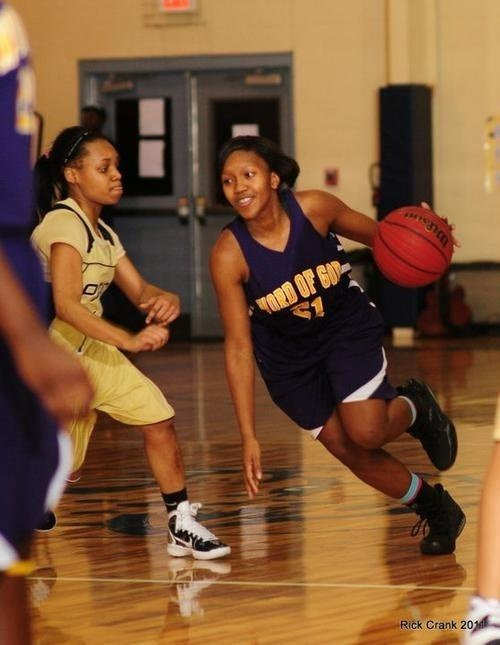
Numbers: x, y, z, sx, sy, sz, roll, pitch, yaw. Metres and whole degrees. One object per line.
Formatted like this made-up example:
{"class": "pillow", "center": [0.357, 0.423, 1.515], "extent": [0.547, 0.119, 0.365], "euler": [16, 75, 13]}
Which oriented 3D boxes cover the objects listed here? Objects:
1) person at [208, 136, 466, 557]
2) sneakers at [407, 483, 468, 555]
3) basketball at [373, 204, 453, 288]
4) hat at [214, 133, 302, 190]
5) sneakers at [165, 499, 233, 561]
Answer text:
{"class": "person", "center": [0.216, 0.044, 1.667], "extent": [0.541, 0.969, 0.361], "euler": [-3, 3, 9]}
{"class": "sneakers", "center": [0.429, 0.460, 1.665], "extent": [0.073, 0.147, 0.220], "euler": [-48, -2, 26]}
{"class": "basketball", "center": [0.444, -0.175, 1.721], "extent": [0.236, 0.206, 0.190], "euler": [9, 35, 9]}
{"class": "hat", "center": [0.042, -0.380, 1.651], "extent": [0.148, 0.140, 0.244], "euler": [-1, 3, 29]}
{"class": "sneakers", "center": [-0.125, 0.496, 1.680], "extent": [0.212, 0.123, 0.075], "euler": [-1, 2, 32]}
